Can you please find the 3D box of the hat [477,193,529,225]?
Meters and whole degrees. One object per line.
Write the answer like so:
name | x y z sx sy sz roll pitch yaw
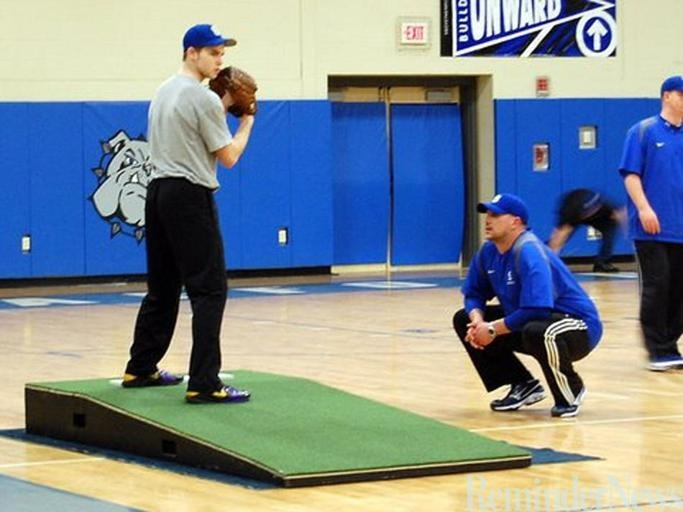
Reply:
hat | 0.914 -0.271 5.005 0.255 0.143 0.181 12 -2 -5

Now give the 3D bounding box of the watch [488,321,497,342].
watch | 0.846 0.422 4.974 0.061 0.097 0.086 0 4 14

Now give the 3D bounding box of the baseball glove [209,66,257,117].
baseball glove | -0.577 -0.862 4.844 0.220 0.296 0.128 28 7 7

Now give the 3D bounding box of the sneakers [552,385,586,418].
sneakers | 1.309 0.821 5.060 0.277 0.176 0.146 -5 6 -40

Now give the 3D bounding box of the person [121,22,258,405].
person | -0.829 -0.244 4.714 0.713 1.987 0.512 0 4 10

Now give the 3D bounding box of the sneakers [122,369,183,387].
sneakers | -1.046 0.689 4.887 0.314 0.124 0.115 -2 3 -27

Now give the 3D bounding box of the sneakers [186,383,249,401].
sneakers | -0.639 0.724 4.532 0.303 0.116 0.120 -3 -2 -9
